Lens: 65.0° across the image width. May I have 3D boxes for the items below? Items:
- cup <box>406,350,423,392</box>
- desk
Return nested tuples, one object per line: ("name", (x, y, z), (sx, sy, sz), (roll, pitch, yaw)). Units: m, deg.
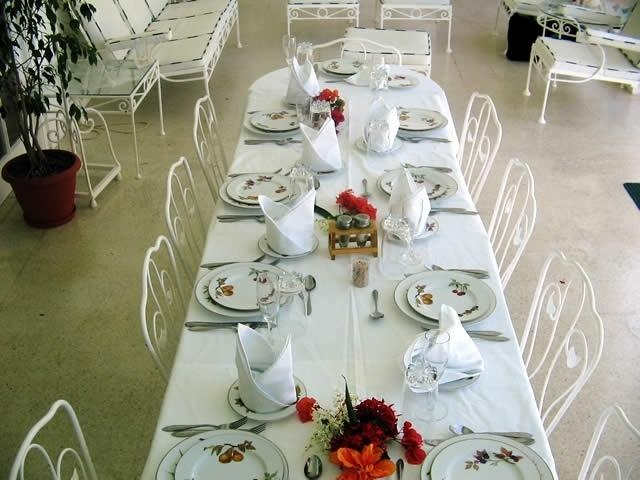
("cup", (0.268, 0.373, 1.422), (0.054, 0.032, 0.089), (-4, 67, 5))
("desk", (-1.681, -1.252, 4.282), (0.838, 0.824, 1.101), (7, 48, 3))
